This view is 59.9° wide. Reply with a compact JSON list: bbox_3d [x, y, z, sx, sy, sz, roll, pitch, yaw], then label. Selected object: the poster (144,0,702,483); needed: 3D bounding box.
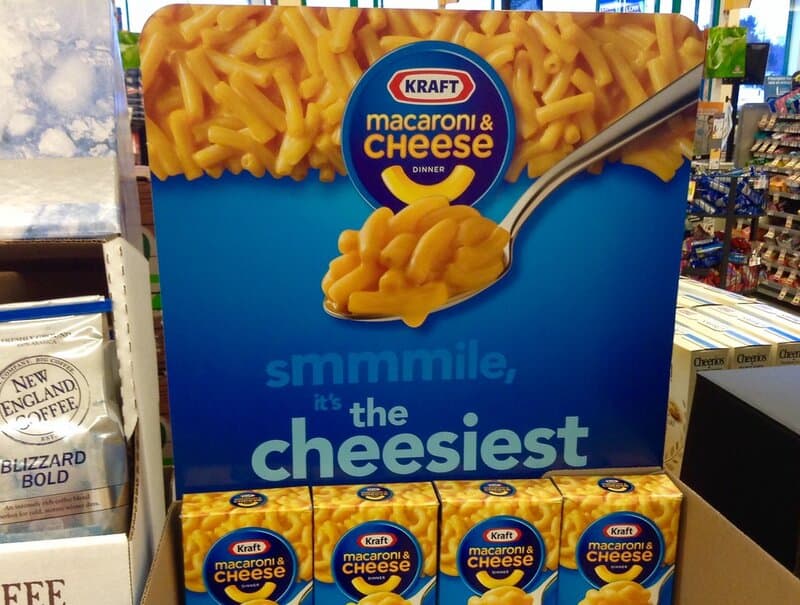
[{"bbox_3d":[0.032,-0.175,1.853,1.513,1.280,0.152,-1,15,-3],"label":"poster"}]
